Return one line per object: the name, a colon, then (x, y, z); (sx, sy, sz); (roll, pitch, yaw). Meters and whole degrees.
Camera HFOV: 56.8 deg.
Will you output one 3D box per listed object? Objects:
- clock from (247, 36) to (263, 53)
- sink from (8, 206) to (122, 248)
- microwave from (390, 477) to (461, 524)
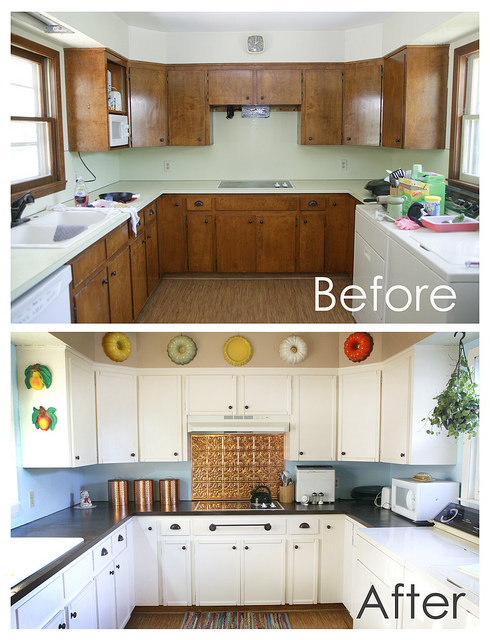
clock: (0.103, -2.839, 4.698); (0.127, 0.034, 0.153); (1, -79, 4)
sink: (-1.053, -0.578, 2.726); (0.435, 0.867, 0.164); (-2, -62, -1)
microwave: (1.144, 1.161, 2.956); (0.269, 0.400, 0.267); (2, -104, -1)
